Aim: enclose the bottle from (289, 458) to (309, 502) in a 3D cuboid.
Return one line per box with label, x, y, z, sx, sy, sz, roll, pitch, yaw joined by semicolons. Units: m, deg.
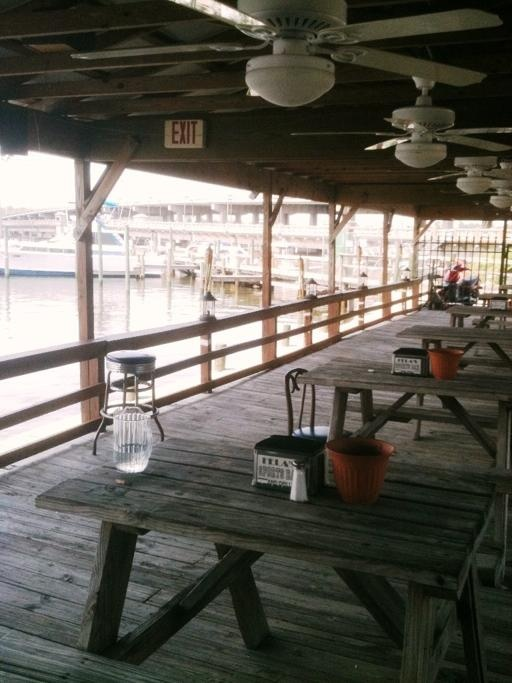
bottle;0.108;0.346;1.534;0.044;0.106;0.048;1;9;4
